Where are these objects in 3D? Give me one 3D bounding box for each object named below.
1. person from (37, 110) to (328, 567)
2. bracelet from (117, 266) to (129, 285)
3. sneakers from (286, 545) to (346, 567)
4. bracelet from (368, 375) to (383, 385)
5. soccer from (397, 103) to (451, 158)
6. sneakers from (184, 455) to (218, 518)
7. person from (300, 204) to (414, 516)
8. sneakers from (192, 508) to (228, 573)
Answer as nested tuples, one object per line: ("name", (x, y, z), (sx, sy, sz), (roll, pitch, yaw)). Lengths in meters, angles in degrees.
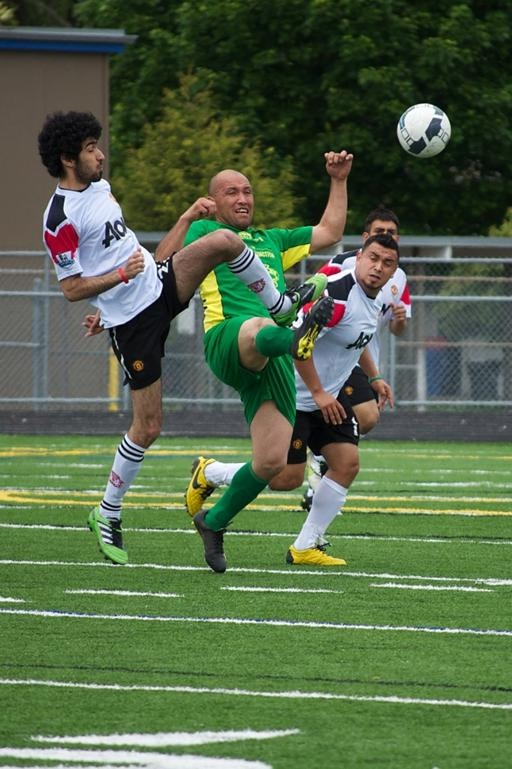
("person", (-0.471, -0.198, 4.716), (0.953, 2.012, 0.546), (0, 5, -1))
("bracelet", (-0.549, -0.454, 4.543), (0.051, 0.058, 0.054), (-25, -10, -5))
("sneakers", (0.265, 0.789, 4.936), (0.294, 0.085, 0.089), (1, -7, 3))
("bracelet", (0.704, -0.018, 6.367), (0.067, 0.023, 0.056), (-21, -5, 33))
("soccer", (1.283, -1.955, 8.306), (0.368, 0.399, 0.334), (1, 5, 5))
("sneakers", (-0.280, 0.499, 5.298), (0.184, 0.296, 0.119), (14, 13, 9))
("person", (0.589, -0.071, 6.726), (0.784, 1.921, 0.640), (12, 32, 10))
("sneakers", (-0.226, 0.687, 4.750), (0.136, 0.276, 0.105), (-39, -21, 29))
